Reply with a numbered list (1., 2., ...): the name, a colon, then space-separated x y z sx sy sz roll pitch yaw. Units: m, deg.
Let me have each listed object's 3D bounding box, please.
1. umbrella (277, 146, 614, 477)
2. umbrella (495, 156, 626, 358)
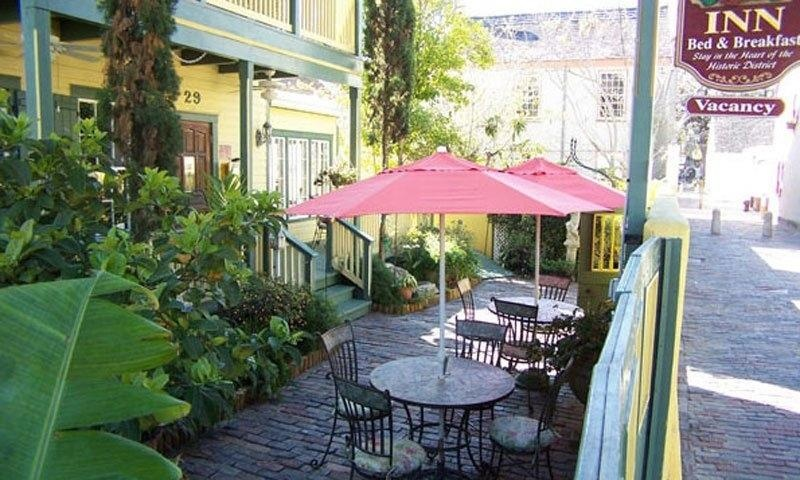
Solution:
1. umbrella: 0.689 0.659 7.991 2.885 2.241 2.881 0 1 2
2. umbrella: 3.006 0.057 10.266 2.374 2.636 2.459 3 7 1
